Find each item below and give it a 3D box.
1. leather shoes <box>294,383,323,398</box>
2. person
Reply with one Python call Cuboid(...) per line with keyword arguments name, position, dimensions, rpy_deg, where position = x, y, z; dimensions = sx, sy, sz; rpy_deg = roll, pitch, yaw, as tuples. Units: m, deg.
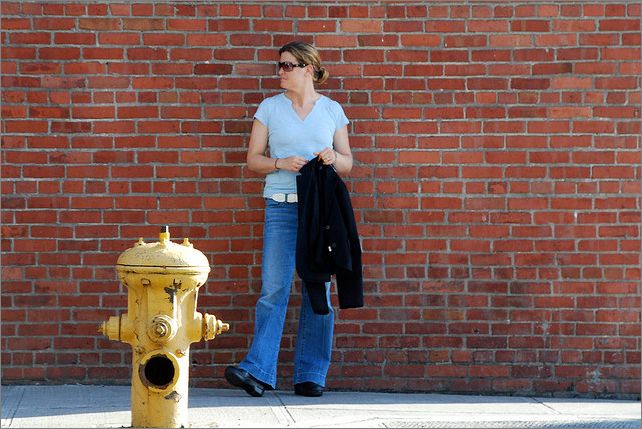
Cuboid(name="leather shoes", position=(-0.119, 1.574, 10.533), dimensions=(0.306, 0.110, 0.106), rpy_deg=(-1, -2, 15))
Cuboid(name="person", position=(-0.274, 0.043, 10.544), dimensions=(0.905, 3.135, 1.089), rpy_deg=(5, 10, 15))
